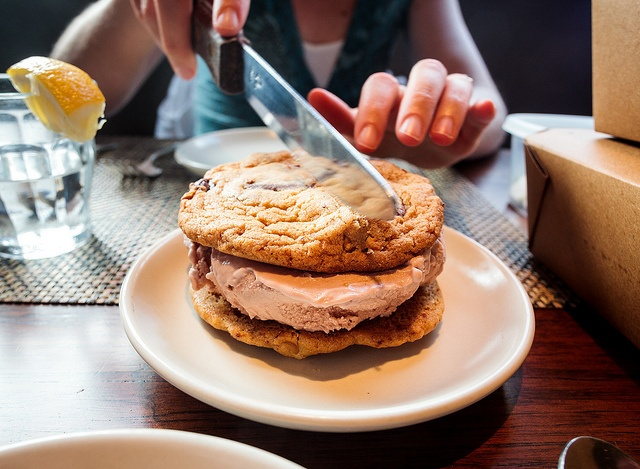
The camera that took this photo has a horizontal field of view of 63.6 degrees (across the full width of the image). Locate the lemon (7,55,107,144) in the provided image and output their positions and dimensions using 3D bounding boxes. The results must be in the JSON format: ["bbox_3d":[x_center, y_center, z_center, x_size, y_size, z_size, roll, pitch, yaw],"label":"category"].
[{"bbox_3d":[-0.707,-0.391,1.500,0.269,0.206,0.096,35,37,-9],"label":"lemon"}]

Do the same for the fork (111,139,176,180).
[{"bbox_3d":[-0.705,-0.305,2.115,0.094,0.081,0.461,7,16,14],"label":"fork"}]
